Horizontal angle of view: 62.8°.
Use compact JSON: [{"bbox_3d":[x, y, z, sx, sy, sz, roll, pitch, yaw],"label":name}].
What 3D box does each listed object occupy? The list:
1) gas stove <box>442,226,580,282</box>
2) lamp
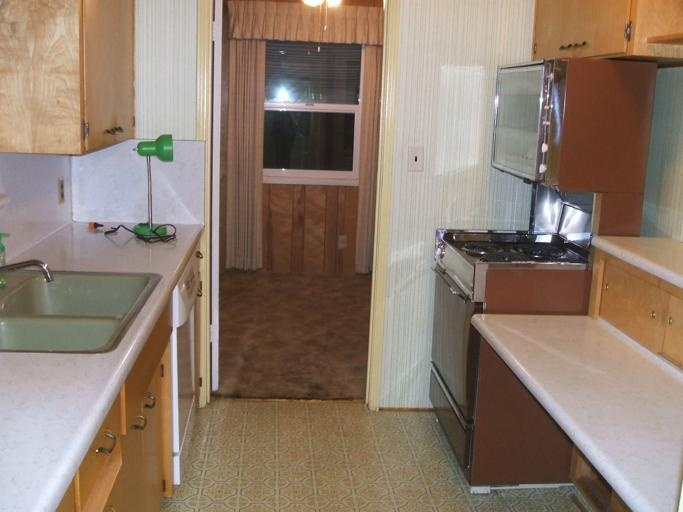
[{"bbox_3d":[0.839,-0.006,2.814,0.614,0.186,0.615,0,18,-2],"label":"gas stove"},{"bbox_3d":[-0.982,-0.380,2.920,0.221,0.507,0.422,-4,18,-15],"label":"lamp"}]
